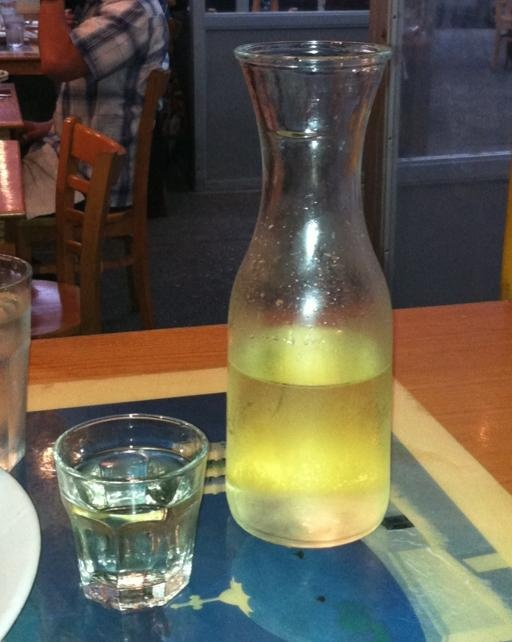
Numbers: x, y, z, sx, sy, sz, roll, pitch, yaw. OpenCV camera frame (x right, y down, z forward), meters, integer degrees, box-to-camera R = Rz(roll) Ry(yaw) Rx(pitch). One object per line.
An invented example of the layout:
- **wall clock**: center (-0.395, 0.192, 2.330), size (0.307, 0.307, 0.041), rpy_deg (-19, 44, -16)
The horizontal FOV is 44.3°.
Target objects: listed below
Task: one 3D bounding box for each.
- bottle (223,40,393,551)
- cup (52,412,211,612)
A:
- **bottle**: center (0.026, -0.003, 0.301), size (0.081, 0.231, 0.070), rpy_deg (-1, 23, 2)
- **cup**: center (-0.053, 0.101, 0.303), size (0.055, 0.058, 0.054), rpy_deg (-6, -7, -1)
